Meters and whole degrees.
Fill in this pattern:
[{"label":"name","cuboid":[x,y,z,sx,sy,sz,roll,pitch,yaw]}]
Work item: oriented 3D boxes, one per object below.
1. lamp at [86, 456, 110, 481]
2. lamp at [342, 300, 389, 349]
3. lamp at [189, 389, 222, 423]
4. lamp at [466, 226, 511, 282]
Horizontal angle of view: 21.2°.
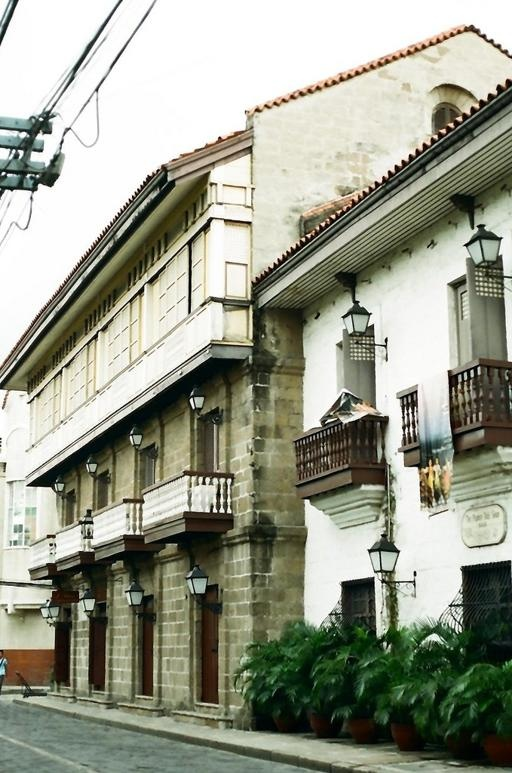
[{"label":"lamp","cuboid":[-3.708,1.955,32.482,0.431,0.758,0.215,14,-33,-19]},{"label":"lamp","cuboid":[1.596,-0.948,20.181,0.593,0.993,0.694,1,-7,3]},{"label":"lamp","cuboid":[-0.893,0.350,24.833,0.570,1.011,0.292,5,-16,-23]},{"label":"lamp","cuboid":[2.832,-1.722,16.859,0.480,0.799,0.563,-2,-14,3]}]
